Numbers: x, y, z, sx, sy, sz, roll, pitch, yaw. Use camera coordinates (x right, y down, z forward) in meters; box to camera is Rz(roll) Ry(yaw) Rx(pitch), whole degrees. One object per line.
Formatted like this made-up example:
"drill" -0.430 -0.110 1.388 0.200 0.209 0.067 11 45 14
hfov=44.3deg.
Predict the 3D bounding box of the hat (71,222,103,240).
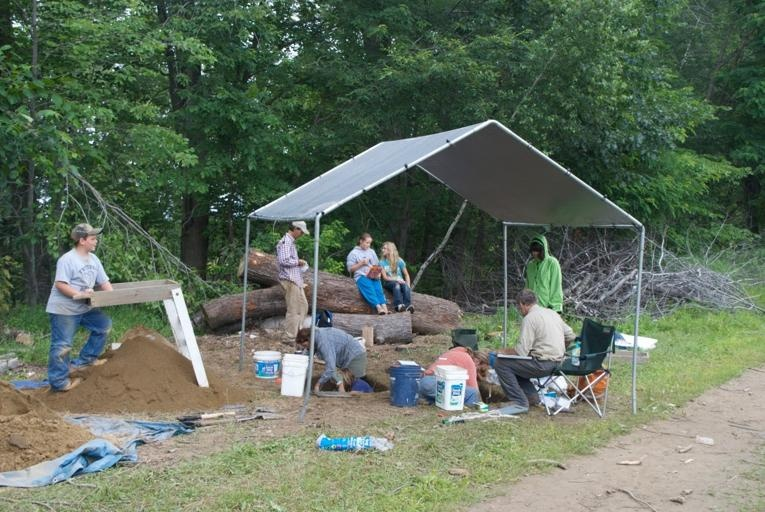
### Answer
"hat" -6.015 -0.506 19.083 0.545 0.282 0.340 -12 12 -16

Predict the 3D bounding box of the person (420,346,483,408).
"person" 1.387 2.494 19.432 1.263 1.218 0.959 -11 25 -16

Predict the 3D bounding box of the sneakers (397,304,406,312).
"sneakers" 0.442 1.289 23.168 0.134 0.190 0.191 1 -13 -4

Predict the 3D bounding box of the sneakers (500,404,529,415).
"sneakers" 2.593 3.073 18.834 0.586 0.244 0.212 3 -3 -1

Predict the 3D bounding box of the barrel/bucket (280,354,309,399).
"barrel/bucket" -1.869 2.496 19.611 0.804 1.012 0.778 2 -6 0

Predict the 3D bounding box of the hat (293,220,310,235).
"hat" -1.880 -0.640 21.378 0.398 0.205 0.269 25 8 2

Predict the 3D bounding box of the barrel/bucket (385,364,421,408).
"barrel/bucket" 0.427 2.639 19.226 0.765 0.809 0.767 2 -7 0

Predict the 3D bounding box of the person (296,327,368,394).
"person" -1.148 2.196 19.807 1.476 1.486 1.181 -2 12 -7

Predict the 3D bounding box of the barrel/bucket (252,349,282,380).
"barrel/bucket" -2.476 2.350 20.192 0.579 0.435 0.573 0 -5 0

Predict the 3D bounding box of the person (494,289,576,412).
"person" 2.994 1.891 19.109 1.504 2.419 0.681 2 2 3

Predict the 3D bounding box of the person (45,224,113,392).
"person" -6.139 1.044 19.006 1.128 3.369 0.807 0 2 -41

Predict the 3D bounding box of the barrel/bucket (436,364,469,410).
"barrel/bucket" 1.374 2.666 19.088 0.793 0.944 0.798 1 -4 0
